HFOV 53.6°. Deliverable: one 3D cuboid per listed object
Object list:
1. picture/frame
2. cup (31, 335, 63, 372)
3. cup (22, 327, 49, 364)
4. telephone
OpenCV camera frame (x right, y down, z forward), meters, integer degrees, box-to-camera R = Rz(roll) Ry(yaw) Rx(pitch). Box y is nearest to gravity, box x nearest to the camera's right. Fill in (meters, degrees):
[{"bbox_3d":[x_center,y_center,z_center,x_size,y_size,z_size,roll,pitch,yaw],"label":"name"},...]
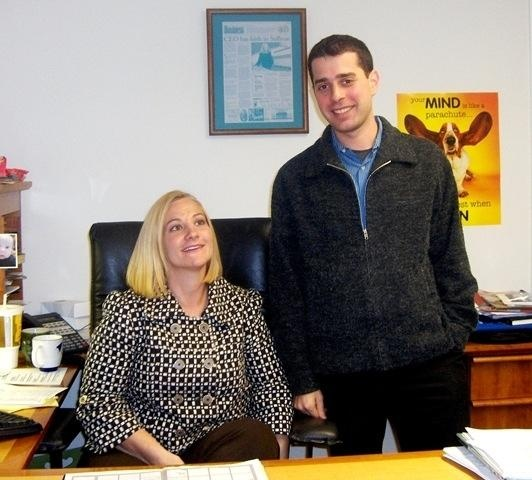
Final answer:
[{"bbox_3d":[-0.055,-0.818,2.467,0.613,0.716,0.036,-2,7,-7],"label":"picture/frame"},{"bbox_3d":[-0.691,0.363,1.676,0.079,0.087,0.119,2,6,0],"label":"cup"},{"bbox_3d":[-0.766,0.369,1.803,0.076,0.106,0.120,2,8,0],"label":"cup"},{"bbox_3d":[-0.746,0.333,1.904,0.130,0.080,0.245,0,14,-46],"label":"telephone"}]
